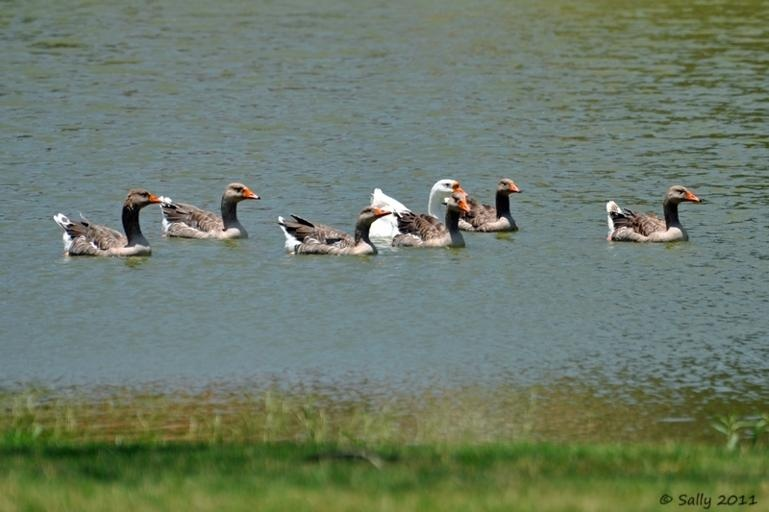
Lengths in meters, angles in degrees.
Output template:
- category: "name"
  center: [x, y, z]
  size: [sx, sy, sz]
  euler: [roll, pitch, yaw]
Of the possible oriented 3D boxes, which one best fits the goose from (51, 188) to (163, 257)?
- category: "goose"
  center: [-8.728, -0.997, 36.302]
  size: [3.077, 1.999, 1.463]
  euler: [-5, 14, -4]
